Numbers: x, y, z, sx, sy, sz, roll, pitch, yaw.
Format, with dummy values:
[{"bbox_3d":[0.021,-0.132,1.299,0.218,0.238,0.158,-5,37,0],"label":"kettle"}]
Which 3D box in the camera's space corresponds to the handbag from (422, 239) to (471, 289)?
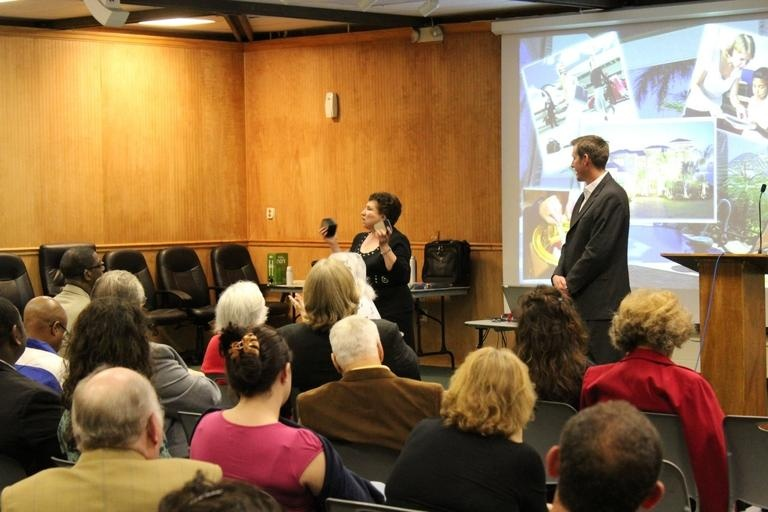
[{"bbox_3d":[0.694,0.096,6.631,0.553,0.513,0.333,0,2,32],"label":"handbag"}]
